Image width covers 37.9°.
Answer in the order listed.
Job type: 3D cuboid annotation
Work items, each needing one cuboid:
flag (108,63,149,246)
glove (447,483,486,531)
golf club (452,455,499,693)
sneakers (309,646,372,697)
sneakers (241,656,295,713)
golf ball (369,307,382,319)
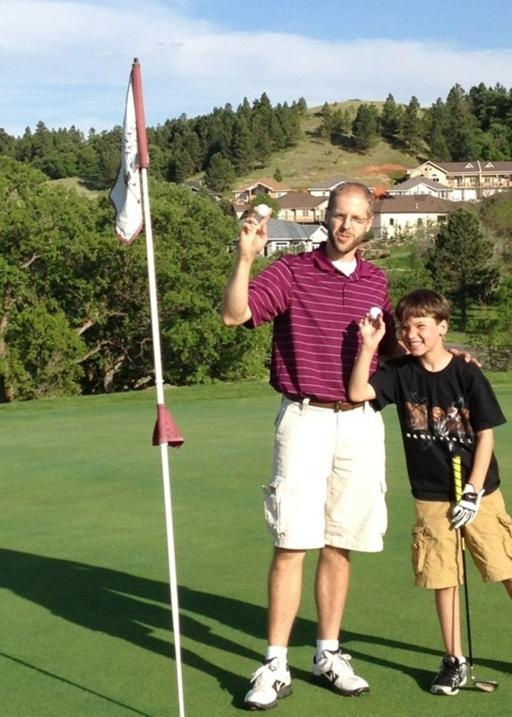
[{"bbox_3d":[-0.535,-0.878,3.178,0.185,0.761,0.083,14,20,25],"label":"flag"},{"bbox_3d":[0.813,0.568,2.845,0.129,0.178,0.054,7,0,4],"label":"glove"},{"bbox_3d":[0.794,0.824,2.965,0.146,1.037,0.212,-10,15,-11],"label":"golf club"},{"bbox_3d":[0.320,1.213,2.876,0.094,0.103,0.235,0,-3,-29],"label":"sneakers"},{"bbox_3d":[0.044,1.233,2.765,0.161,0.122,0.245,1,8,5],"label":"sneakers"},{"bbox_3d":[0.466,-0.171,2.897,0.026,0.044,0.045,-3,10,-35],"label":"golf ball"}]
